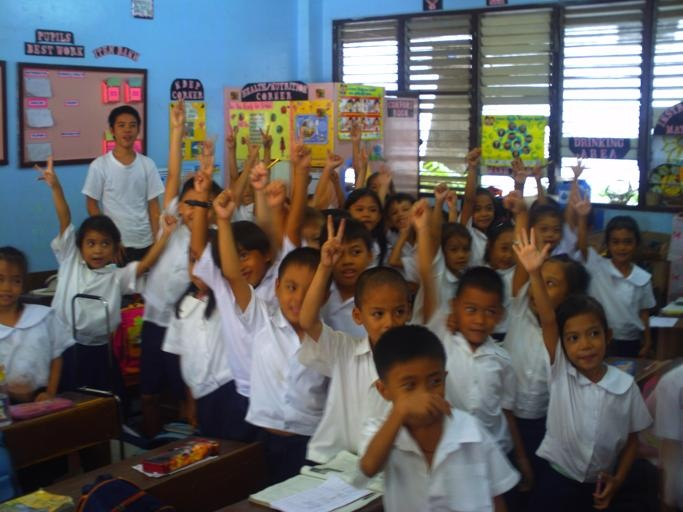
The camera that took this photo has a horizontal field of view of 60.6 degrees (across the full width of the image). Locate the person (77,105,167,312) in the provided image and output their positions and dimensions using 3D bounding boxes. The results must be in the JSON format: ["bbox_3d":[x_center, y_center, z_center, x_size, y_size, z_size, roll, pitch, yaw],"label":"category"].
[{"bbox_3d":[-1.738,-0.245,4.774,0.691,1.903,0.555,-2,16,-24],"label":"person"}]

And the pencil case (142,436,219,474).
[{"bbox_3d":[-0.626,0.798,2.291,0.155,0.068,0.275,-4,-1,35],"label":"pencil case"}]

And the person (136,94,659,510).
[{"bbox_3d":[0.673,0.310,2.429,1.298,1.090,1.481,-14,24,-39],"label":"person"}]
